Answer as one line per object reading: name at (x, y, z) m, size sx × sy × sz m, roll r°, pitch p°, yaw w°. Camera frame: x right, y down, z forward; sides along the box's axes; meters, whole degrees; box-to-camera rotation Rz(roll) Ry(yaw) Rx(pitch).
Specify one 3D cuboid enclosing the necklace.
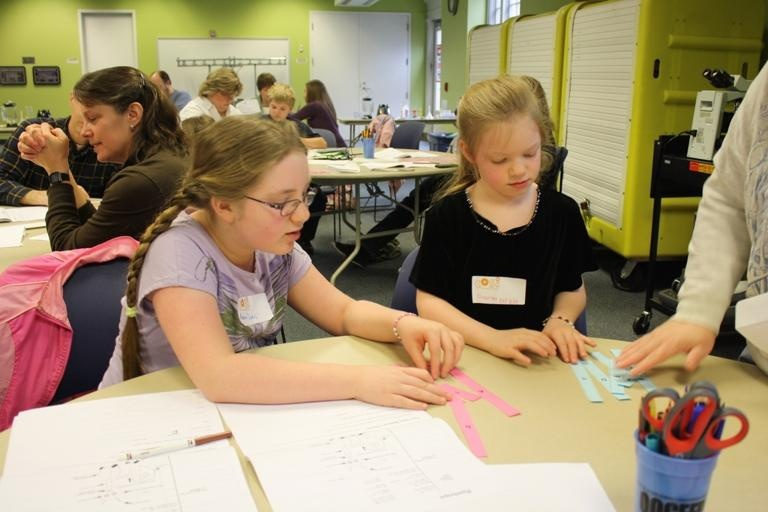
necklace at (0.396, -0.174, 1.808) m, size 0.220 × 0.168 × 0.243 m, roll 1°, pitch 15°, yaw 1°

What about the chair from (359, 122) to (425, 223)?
chair at (0.141, -0.790, 6.063) m, size 0.918 × 1.476 × 0.881 m, roll 2°, pitch 22°, yaw -2°

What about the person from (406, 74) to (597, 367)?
person at (0.447, -0.001, 1.727) m, size 0.593 × 1.098 × 0.632 m, roll -9°, pitch 21°, yaw -16°

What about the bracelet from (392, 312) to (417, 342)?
bracelet at (0.062, 0.202, 1.468) m, size 0.027 × 0.078 × 0.062 m, roll 14°, pitch -16°, yaw -33°

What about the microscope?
microscope at (1.996, -0.858, 3.097) m, size 0.262 × 0.502 × 0.184 m, roll -19°, pitch 31°, yaw -17°

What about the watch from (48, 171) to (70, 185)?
watch at (-1.416, -0.327, 2.257) m, size 0.066 × 0.049 × 0.072 m, roll -1°, pitch -2°, yaw 32°
